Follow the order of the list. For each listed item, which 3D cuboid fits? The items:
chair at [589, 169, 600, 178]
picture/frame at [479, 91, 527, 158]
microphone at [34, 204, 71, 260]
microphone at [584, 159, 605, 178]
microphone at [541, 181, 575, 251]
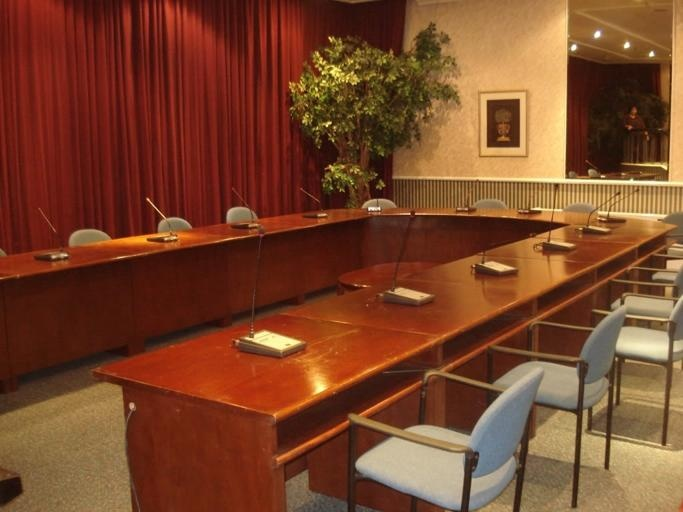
[{"bbox_3d":[3.771,-1.234,8.484,0.123,0.117,0.110,0,9,10],"label":"chair"},{"bbox_3d":[2.578,-2.107,8.963,0.924,1.361,0.056,2,6,31],"label":"picture/frame"},{"bbox_3d":[-2.224,-0.158,4.390,0.165,0.376,0.194,-10,-9,39],"label":"microphone"},{"bbox_3d":[3.803,-1.293,8.518,0.254,0.288,0.163,-1,8,21],"label":"microphone"},{"bbox_3d":[1.627,-0.297,4.436,0.180,0.513,0.117,-5,21,-40],"label":"microphone"}]
